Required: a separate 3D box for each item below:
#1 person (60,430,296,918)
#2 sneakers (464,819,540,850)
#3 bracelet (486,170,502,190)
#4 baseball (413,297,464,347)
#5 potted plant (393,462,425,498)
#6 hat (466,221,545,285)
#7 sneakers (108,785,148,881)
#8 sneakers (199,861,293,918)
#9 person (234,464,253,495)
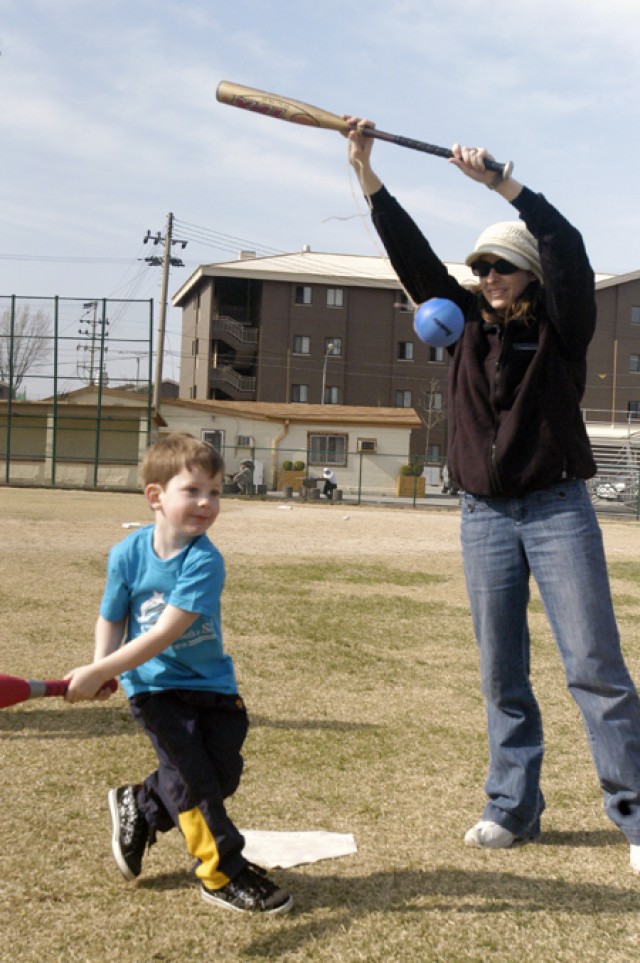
[{"bbox_3d":[-0.319,0.426,2.178,0.500,1.081,0.397,0,1,-3],"label":"person"},{"bbox_3d":[0.512,0.975,2.546,0.165,0.066,0.083,7,-8,-7],"label":"sneakers"},{"bbox_3d":[0.466,-0.794,2.412,0.032,0.053,0.044,0,1,9],"label":"bracelet"},{"bbox_3d":[0.348,-0.458,2.613,0.117,0.116,0.133,-29,17,10],"label":"baseball"},{"bbox_3d":[3.069,0.036,30.190,1.051,1.410,1.308,-1,1,-3],"label":"potted plant"},{"bbox_3d":[0.508,-0.634,2.490,0.203,0.170,0.261,0,1,9],"label":"hat"},{"bbox_3d":[-0.471,0.830,2.178,0.089,0.218,0.076,-27,-30,16],"label":"sneakers"},{"bbox_3d":[-0.150,0.922,2.081,0.223,0.096,0.087,-3,-5,22],"label":"sneakers"},{"bbox_3d":[-2.036,-0.133,24.746,0.560,0.831,0.414,-7,-28,-2],"label":"person"}]
